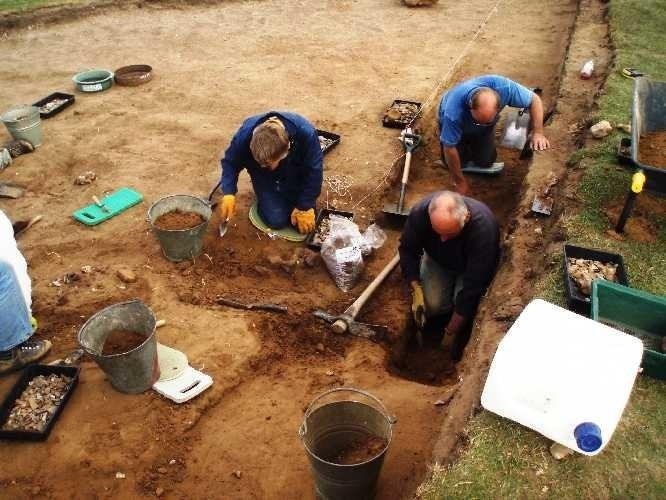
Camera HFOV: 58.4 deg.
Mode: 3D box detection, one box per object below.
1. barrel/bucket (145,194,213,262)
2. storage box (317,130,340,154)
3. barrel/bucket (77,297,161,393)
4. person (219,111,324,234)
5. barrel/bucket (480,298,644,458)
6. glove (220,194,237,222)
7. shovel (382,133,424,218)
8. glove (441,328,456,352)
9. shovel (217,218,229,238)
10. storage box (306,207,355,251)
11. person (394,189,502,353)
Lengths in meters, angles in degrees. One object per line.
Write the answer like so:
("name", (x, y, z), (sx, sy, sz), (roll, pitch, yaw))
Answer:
("barrel/bucket", (-1.659, -0.247, 6.510), (0.635, 0.560, 0.584), (1, 41, -1))
("storage box", (-0.106, -1.542, 8.278), (0.379, 0.099, 0.394), (24, 50, 24))
("barrel/bucket", (-1.880, 0.858, 5.302), (0.643, 0.668, 0.621), (1, 41, -1))
("person", (-0.717, -0.913, 6.885), (1.181, 1.921, 1.092), (-8, 61, -5))
("barrel/bucket", (1.725, 0.942, 4.527), (0.943, 0.789, 0.643), (23, 45, 23))
("glove", (-1.200, -0.480, 6.793), (0.224, 0.286, 0.104), (2, 1, 4))
("shovel", (0.919, -1.009, 7.672), (0.403, 0.250, 1.564), (8, 52, 7))
("glove", (1.202, 0.945, 6.263), (0.101, 0.102, 0.248), (4, 79, 25))
("shovel", (-1.272, -0.251, 6.837), (0.098, 0.050, 0.356), (10, 23, -7))
("storage box", (-0.143, -0.251, 7.010), (0.394, 0.115, 0.623), (10, 46, 15))
("person", (1.145, 0.159, 6.179), (1.022, 1.693, 0.900), (16, 43, 15))
